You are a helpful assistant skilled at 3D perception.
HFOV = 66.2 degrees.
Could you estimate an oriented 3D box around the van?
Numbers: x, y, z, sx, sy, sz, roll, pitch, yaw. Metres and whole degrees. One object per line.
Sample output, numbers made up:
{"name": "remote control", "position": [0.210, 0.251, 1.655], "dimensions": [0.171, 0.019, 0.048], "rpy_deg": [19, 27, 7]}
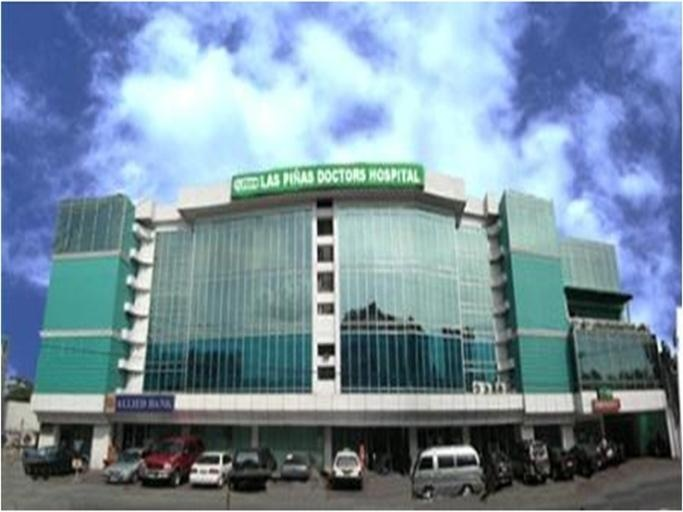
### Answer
{"name": "van", "position": [7.062, 14.690, 35.170], "dimensions": [4.421, 3.674, 1.476], "rpy_deg": [0, 10, 2]}
